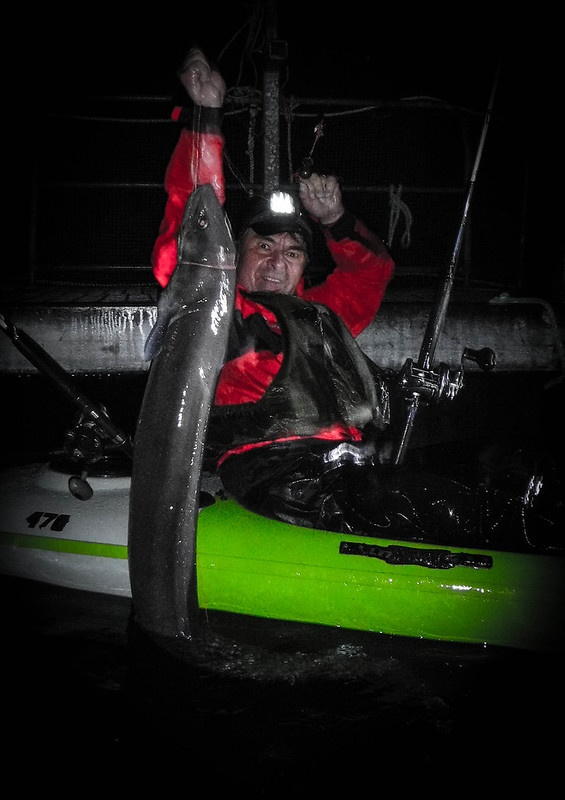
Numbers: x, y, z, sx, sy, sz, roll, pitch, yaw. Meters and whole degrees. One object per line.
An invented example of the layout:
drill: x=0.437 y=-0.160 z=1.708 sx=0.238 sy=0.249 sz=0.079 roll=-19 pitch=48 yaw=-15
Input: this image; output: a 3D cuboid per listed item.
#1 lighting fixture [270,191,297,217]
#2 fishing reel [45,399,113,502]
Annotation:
lighting fixture: x=0.002 y=-0.735 z=2.727 sx=0.089 sy=0.102 sz=0.034 roll=-2 pitch=22 yaw=-4
fishing reel: x=-0.638 y=0.143 z=2.433 sx=0.258 sy=0.345 sz=0.241 roll=-7 pitch=16 yaw=-36
